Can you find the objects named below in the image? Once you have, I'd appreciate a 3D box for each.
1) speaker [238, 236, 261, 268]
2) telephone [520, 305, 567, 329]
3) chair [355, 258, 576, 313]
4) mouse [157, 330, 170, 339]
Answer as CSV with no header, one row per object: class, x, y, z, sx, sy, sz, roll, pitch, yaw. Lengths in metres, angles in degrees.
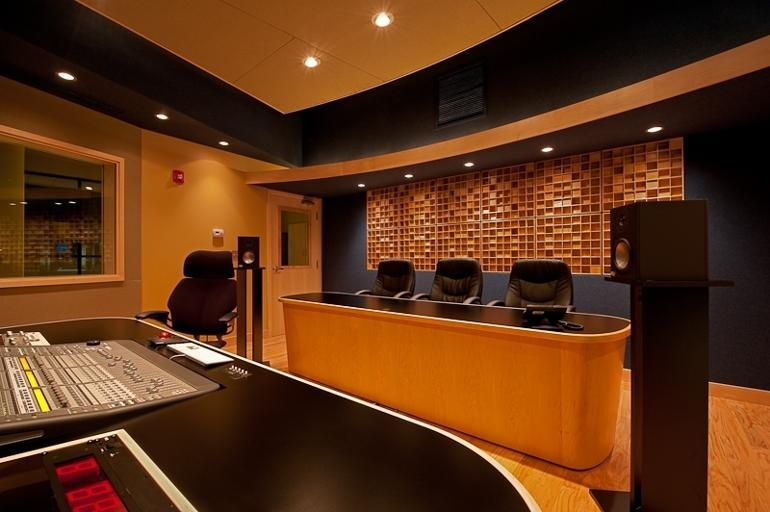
speaker,-1.286,-0.037,4.490,0.190,0.301,0.154,1,2,-20
telephone,1.266,0.482,3.783,0.328,0.178,0.143,1,2,5
chair,0.903,0.260,5.222,2.294,0.514,0.399,2,2,35
mouse,-1.553,0.549,3.327,0.058,0.036,0.073,8,-5,-17
